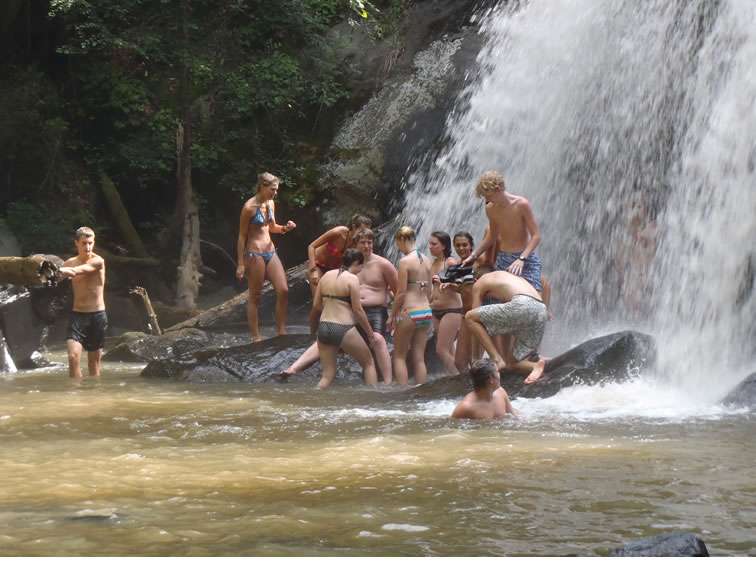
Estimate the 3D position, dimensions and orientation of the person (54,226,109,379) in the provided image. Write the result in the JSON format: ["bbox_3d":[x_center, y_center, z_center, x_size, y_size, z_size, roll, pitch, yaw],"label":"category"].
[{"bbox_3d":[-3.946,0.348,10.946,0.557,2.178,1.200,-4,10,-20],"label":"person"}]

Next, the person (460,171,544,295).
[{"bbox_3d":[1.588,-0.642,10.095,0.493,1.470,0.964,-8,12,-37],"label":"person"}]

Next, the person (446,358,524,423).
[{"bbox_3d":[1.126,1.128,8.580,0.792,0.732,0.340,-8,11,-34],"label":"person"}]

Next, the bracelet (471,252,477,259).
[{"bbox_3d":[1.245,-0.345,10.450,0.067,0.069,0.051,8,30,-2],"label":"bracelet"}]
